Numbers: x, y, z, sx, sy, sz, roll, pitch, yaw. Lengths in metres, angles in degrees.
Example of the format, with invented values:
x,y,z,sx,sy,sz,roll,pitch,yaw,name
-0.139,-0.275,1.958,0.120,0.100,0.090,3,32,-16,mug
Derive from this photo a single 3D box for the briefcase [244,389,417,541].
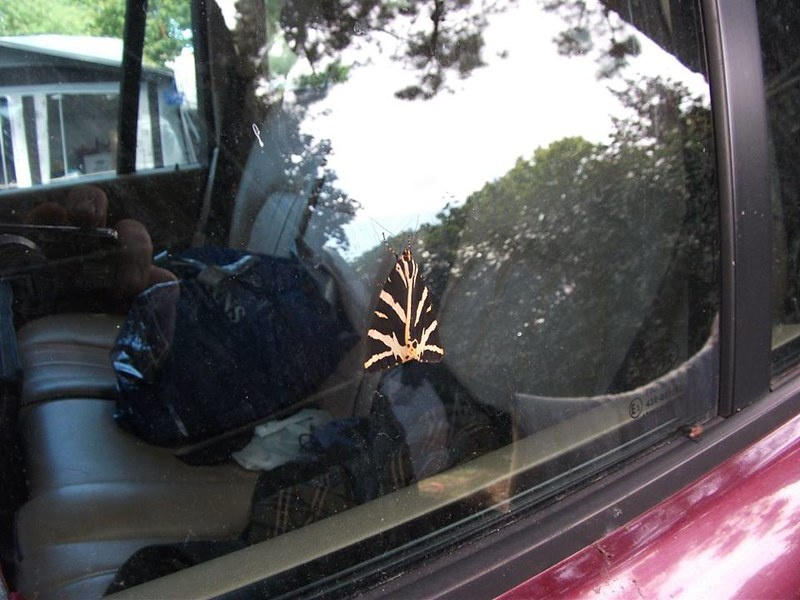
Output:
x,y,z,sx,sy,sz,roll,pitch,yaw,name
-0.128,0.323,1.339,0.293,0.176,0.113,-22,-46,-8,briefcase

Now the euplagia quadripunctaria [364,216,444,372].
x,y,z,sx,sy,sz,roll,pitch,yaw,name
0.006,0.007,1.357,0.184,0.219,0.049,-1,7,-23,euplagia quadripunctaria
